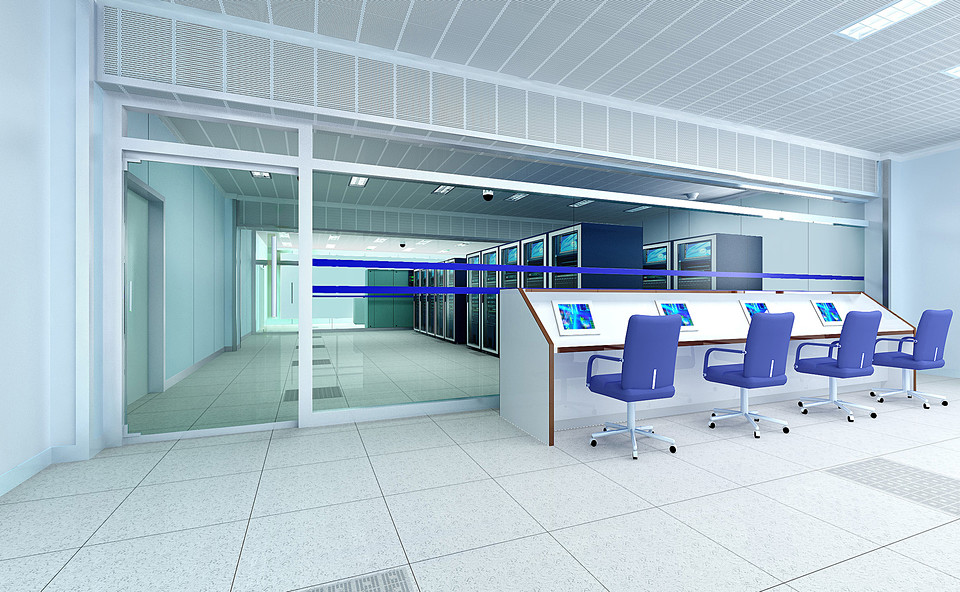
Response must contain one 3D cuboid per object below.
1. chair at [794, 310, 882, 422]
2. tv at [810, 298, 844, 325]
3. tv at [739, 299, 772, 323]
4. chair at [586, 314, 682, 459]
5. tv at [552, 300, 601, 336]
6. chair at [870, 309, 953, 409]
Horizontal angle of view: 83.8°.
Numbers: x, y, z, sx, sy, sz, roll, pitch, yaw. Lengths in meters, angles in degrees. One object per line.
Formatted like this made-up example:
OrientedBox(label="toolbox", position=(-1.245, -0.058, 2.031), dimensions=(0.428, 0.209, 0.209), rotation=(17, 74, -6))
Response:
OrientedBox(label="chair", position=(4.632, 0.812, 6.809), dimensions=(0.897, 1.387, 1.067), rotation=(12, 17, 41))
OrientedBox(label="tv", position=(4.907, 0.234, 7.612), dimensions=(0.599, 0.443, 0.018), rotation=(-7, -35, -33))
OrientedBox(label="tv", position=(3.462, 0.200, 6.780), dimensions=(0.455, 0.230, 0.018), rotation=(10, -38, -23))
OrientedBox(label="chair", position=(1.684, 0.914, 5.744), dimensions=(0.949, 1.504, 0.828), rotation=(9, 16, 33))
OrientedBox(label="tv", position=(1.091, 0.268, 6.214), dimensions=(0.647, 0.334, 0.018), rotation=(4, -33, -26))
OrientedBox(label="chair", position=(5.945, 0.776, 7.265), dimensions=(0.842, 1.340, 1.213), rotation=(11, 16, 39))
